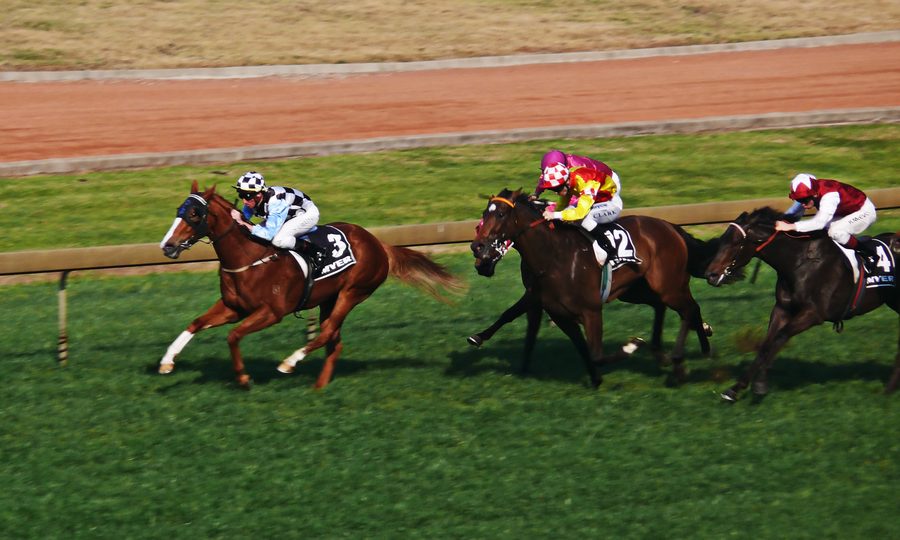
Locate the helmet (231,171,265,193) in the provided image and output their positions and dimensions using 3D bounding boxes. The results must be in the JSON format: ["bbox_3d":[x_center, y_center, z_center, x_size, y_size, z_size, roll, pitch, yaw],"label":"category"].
[{"bbox_3d":[-2.267,-1.000,10.520,0.453,0.209,0.446,1,2,9],"label":"helmet"}]

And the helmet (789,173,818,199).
[{"bbox_3d":[3.907,-0.925,10.385,0.339,0.184,0.337,-15,35,24],"label":"helmet"}]

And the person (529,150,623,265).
[{"bbox_3d":[1.444,-0.723,10.519,0.975,1.212,0.714,-3,16,3],"label":"person"}]

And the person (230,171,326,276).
[{"bbox_3d":[-2.216,-0.533,10.664,1.367,1.122,0.872,-8,29,-36],"label":"person"}]

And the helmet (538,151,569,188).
[{"bbox_3d":[1.081,-1.081,10.321,0.451,0.243,0.430,-7,39,8],"label":"helmet"}]

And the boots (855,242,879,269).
[{"bbox_3d":[4.636,-0.176,10.408,0.170,0.365,0.182,-29,-6,19],"label":"boots"}]

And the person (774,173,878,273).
[{"bbox_3d":[4.217,-0.643,10.546,1.355,0.669,0.609,-1,24,1],"label":"person"}]
